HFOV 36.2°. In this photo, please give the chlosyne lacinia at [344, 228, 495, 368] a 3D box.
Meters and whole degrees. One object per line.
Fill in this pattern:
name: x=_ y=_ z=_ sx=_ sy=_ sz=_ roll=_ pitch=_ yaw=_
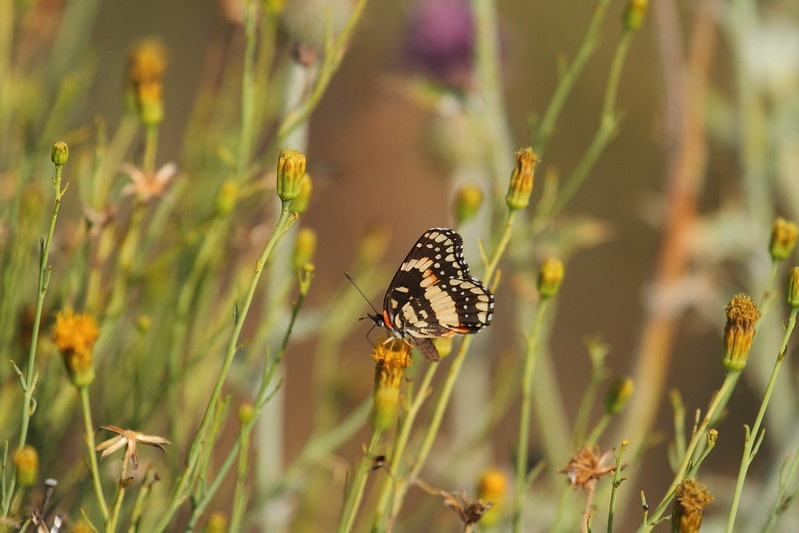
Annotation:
chlosyne lacinia: x=0.017 y=0.021 z=0.950 sx=0.110 sy=0.116 sz=0.087 roll=-7 pitch=16 yaw=-16
